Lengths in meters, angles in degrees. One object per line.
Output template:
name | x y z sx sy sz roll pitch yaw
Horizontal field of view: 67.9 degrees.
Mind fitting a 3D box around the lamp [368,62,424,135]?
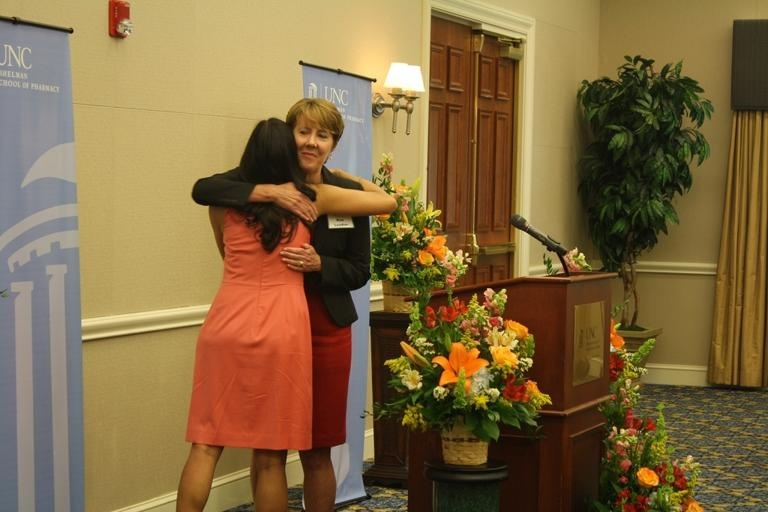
lamp | 0.112 -1.329 4.857 0.413 0.529 0.478 1 3 -3

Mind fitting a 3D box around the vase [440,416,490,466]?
vase | 0.359 0.790 2.470 0.191 0.198 0.195 -1 -4 19

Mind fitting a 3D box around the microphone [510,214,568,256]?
microphone | 1.470 -0.200 5.473 0.667 0.185 0.169 32 -24 -9

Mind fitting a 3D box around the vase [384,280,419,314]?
vase | 0.087 0.288 3.928 0.210 0.201 0.191 1 -3 24

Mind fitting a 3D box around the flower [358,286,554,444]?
flower | 0.369 0.430 2.616 0.659 0.619 0.700 1 -2 18

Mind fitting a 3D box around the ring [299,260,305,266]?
ring | -0.350 0.028 2.442 0.014 0.021 0.007 1 2 3
